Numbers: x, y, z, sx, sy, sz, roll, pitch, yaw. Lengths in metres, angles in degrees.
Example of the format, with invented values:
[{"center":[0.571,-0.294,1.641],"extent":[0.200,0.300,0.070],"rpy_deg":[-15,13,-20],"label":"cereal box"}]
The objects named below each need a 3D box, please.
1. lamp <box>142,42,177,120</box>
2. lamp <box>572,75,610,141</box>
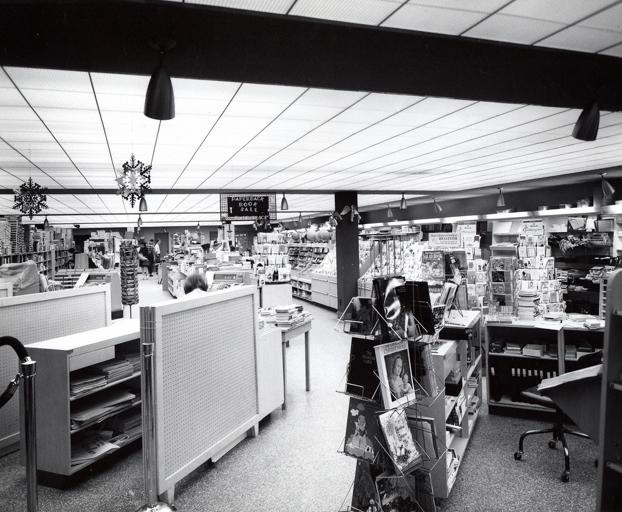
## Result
[{"center":[-1.127,-1.283,3.528],"extent":[0.221,0.521,0.307],"rpy_deg":[-3,4,-20],"label":"lamp"},{"center":[2.677,-1.357,4.605],"extent":[0.228,0.472,0.386],"rpy_deg":[1,5,32],"label":"lamp"}]
